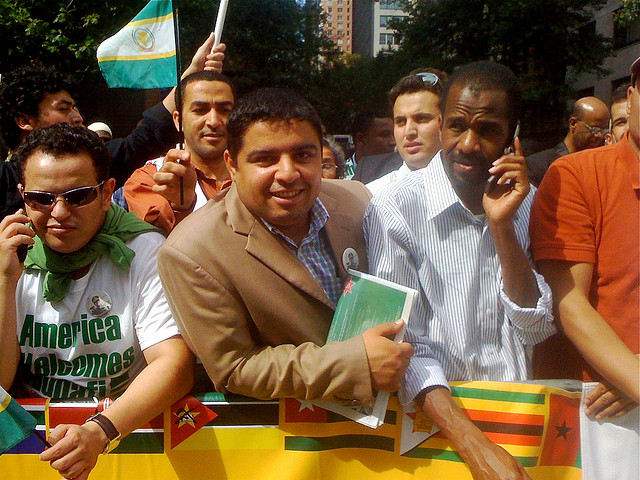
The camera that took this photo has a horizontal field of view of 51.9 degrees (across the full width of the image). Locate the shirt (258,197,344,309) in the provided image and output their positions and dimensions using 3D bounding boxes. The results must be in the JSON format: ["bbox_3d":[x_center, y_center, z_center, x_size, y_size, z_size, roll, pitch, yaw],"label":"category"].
[{"bbox_3d":[-0.037,0.082,3.699,0.428,0.572,0.300,-19,-27,-36],"label":"shirt"}]

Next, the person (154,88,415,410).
[{"bbox_3d":[-0.204,0.033,3.542,1.270,1.686,0.685,-2,3,2],"label":"person"}]

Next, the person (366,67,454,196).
[{"bbox_3d":[0.822,-0.823,5.267,0.796,1.086,0.624,4,5,16],"label":"person"}]

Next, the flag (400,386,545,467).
[{"bbox_3d":[0.809,0.987,3.464,0.785,0.434,0.154,-3,3,-11],"label":"flag"}]

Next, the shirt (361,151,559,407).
[{"bbox_3d":[0.780,0.195,3.910,1.090,1.566,0.656,2,9,11],"label":"shirt"}]
